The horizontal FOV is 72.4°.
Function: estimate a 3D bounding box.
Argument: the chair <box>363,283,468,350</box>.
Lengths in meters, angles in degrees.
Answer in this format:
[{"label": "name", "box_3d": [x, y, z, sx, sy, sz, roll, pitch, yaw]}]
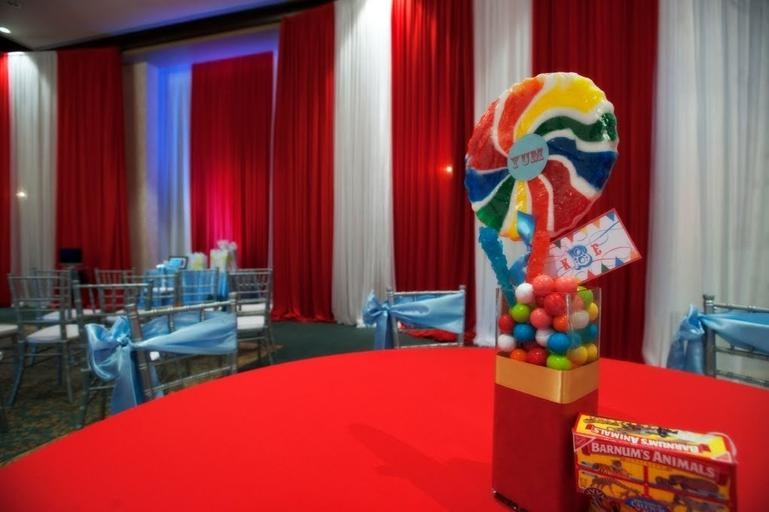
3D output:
[{"label": "chair", "box_3d": [0.242, 0.395, 3.720, 0.490, 0.407, 0.510, -1, -1, 17]}]
